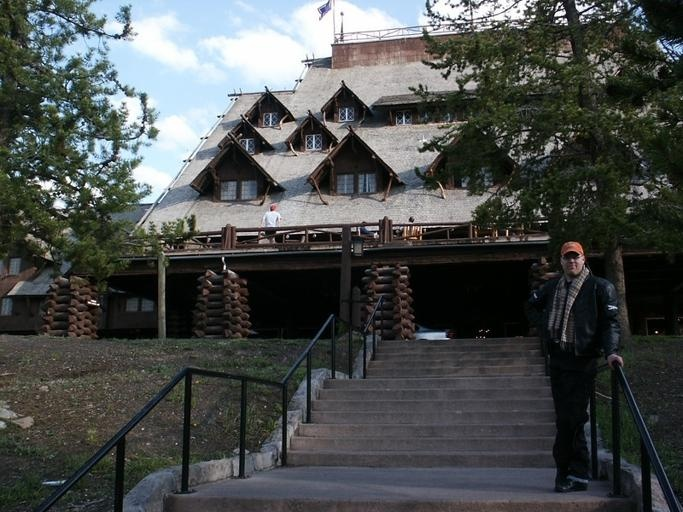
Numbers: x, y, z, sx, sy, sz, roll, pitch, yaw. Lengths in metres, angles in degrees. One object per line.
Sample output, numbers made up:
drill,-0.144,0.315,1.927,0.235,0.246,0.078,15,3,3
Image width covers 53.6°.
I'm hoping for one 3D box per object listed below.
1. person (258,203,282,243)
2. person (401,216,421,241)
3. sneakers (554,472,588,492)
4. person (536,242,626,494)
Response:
person,-2.539,-0.930,24.278,0.588,1.755,0.552,0,-25,7
person,2.450,-0.963,23.579,0.733,1.501,0.769,0,0,6
sneakers,2.709,2.702,8.042,0.456,0.209,0.162,0,-4,-1
person,2.803,1.312,8.100,1.013,2.983,0.598,-3,-9,25
